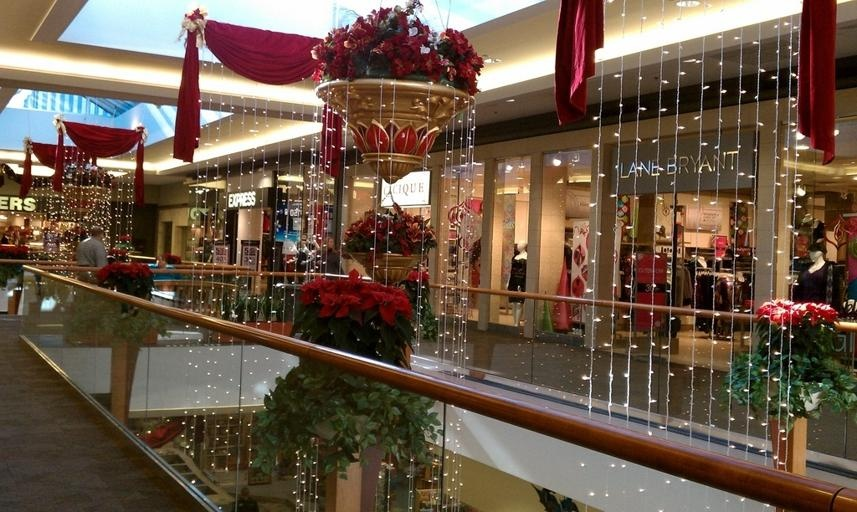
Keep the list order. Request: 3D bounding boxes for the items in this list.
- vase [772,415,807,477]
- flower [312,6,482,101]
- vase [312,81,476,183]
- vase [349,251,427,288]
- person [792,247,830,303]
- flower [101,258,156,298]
[{"bbox_3d":[3.630,1.876,6.056,0.287,0.616,0.374,5,1,39],"label":"vase"},{"bbox_3d":[-0.264,-1.863,5.650,1.028,0.524,0.988,3,4,-5],"label":"flower"},{"bbox_3d":[-0.384,-1.217,5.726,1.076,0.558,1.052,2,1,21],"label":"vase"},{"bbox_3d":[-0.441,0.116,6.434,0.489,0.304,0.483,-1,-2,29],"label":"vase"},{"bbox_3d":[5.700,0.248,8.943,0.469,0.916,0.268,5,1,44],"label":"person"},{"bbox_3d":[-4.904,0.362,9.718,0.794,0.496,0.764,5,-3,-15],"label":"flower"}]
